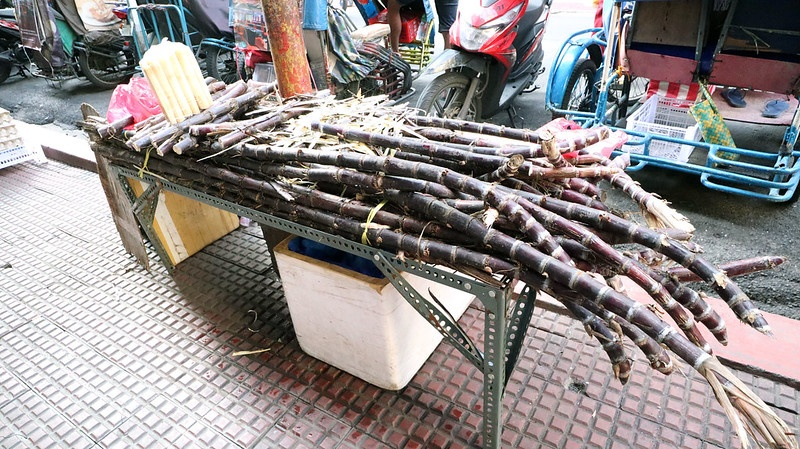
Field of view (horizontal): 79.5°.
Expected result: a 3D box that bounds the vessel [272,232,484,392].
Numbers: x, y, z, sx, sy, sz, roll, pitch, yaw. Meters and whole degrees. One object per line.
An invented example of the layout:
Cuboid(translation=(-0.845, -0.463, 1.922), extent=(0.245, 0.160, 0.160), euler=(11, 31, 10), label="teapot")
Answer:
Cuboid(translation=(-0.079, 0.755, 5.147), extent=(2.137, 1.124, 2.023), euler=(-1, 16, 16), label="vessel")

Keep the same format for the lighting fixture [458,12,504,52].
Cuboid(translation=(1.041, -2.508, 6.362), extent=(0.523, 0.327, 0.350), euler=(6, 31, 8), label="lighting fixture")

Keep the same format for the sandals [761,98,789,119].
Cuboid(translation=(4.994, -1.560, 6.399), extent=(0.485, 0.152, 0.256), euler=(-35, 43, -30), label="sandals")
